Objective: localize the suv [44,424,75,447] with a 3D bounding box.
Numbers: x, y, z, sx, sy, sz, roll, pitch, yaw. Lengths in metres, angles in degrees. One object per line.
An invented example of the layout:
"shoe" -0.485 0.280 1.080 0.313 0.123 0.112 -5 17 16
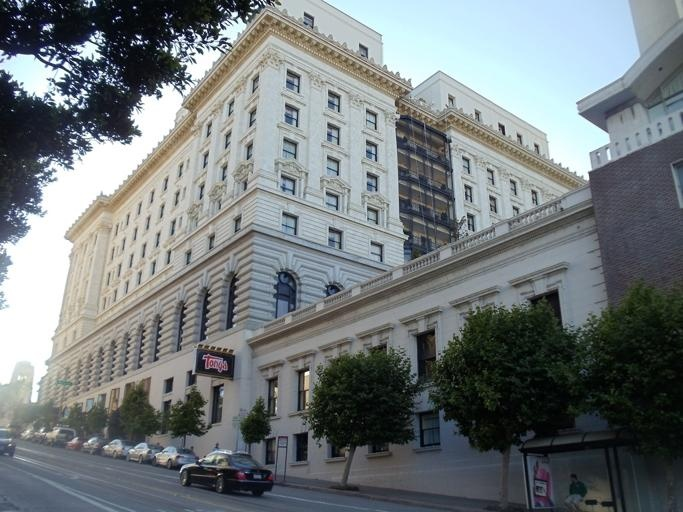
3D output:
"suv" -29.096 18.617 60.708 1.999 2.009 3.346 16 -21 -39

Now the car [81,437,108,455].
"car" -22.409 17.107 52.866 1.153 0.910 2.533 15 -19 -42

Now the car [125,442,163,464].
"car" -14.812 14.769 44.113 1.535 1.116 3.379 17 -24 -38

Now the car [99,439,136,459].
"car" -18.630 15.995 49.059 1.592 1.147 3.490 15 -20 -39

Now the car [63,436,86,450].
"car" -25.417 17.838 56.103 1.848 0.908 1.137 -10 -18 42

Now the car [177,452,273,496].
"car" -5.663 10.245 27.870 1.864 1.377 4.632 21 -27 -38
